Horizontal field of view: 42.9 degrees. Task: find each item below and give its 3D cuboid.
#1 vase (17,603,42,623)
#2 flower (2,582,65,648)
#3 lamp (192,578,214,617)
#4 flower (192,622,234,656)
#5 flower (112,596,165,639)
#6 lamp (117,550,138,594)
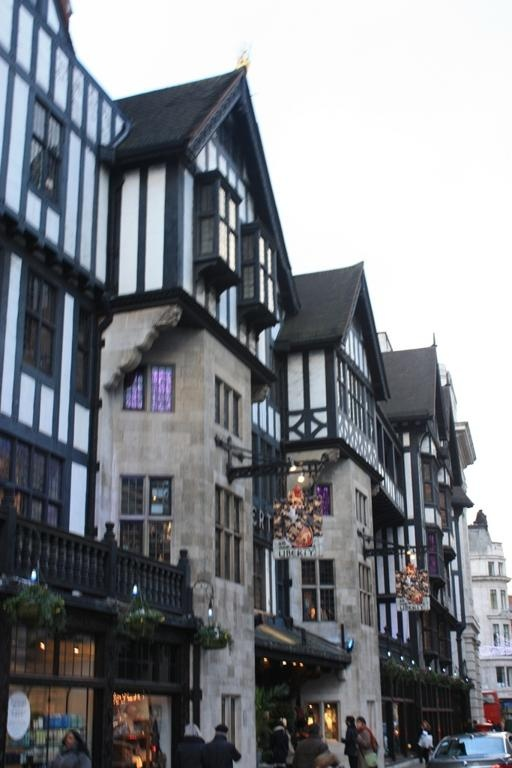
[{"bbox_3d":[-2.155,2.181,6.170,0.199,0.132,0.377,-4,-27,1],"label":"vase"},{"bbox_3d":[-2.126,2.176,6.331,0.324,0.382,0.583,10,-24,5],"label":"flower"},{"bbox_3d":[-0.955,4.087,12.329,0.238,0.691,0.565,-16,-24,41],"label":"lamp"},{"bbox_3d":[-0.784,4.653,12.103,0.477,0.527,1.294,-8,-27,14],"label":"flower"},{"bbox_3d":[-1.670,3.231,9.105,0.274,0.571,1.067,-8,-25,18],"label":"flower"},{"bbox_3d":[-1.858,2.800,9.547,0.176,0.615,0.824,-3,-23,6],"label":"lamp"}]
